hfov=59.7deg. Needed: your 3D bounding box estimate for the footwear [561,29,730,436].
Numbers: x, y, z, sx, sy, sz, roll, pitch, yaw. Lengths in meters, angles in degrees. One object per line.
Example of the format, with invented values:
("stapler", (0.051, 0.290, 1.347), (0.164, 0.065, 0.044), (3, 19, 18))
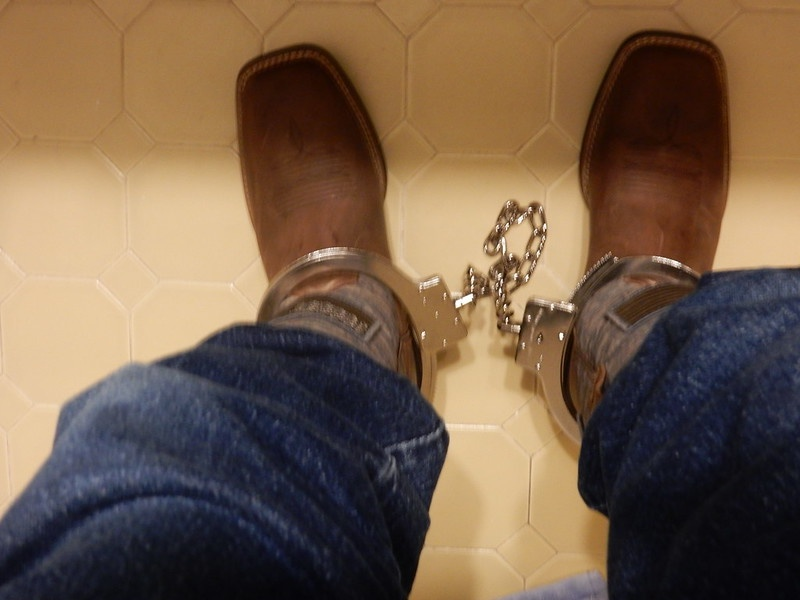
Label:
("footwear", (0.331, -0.112, 0.928), (0.153, 0.562, 0.193), (11, 9, 15))
